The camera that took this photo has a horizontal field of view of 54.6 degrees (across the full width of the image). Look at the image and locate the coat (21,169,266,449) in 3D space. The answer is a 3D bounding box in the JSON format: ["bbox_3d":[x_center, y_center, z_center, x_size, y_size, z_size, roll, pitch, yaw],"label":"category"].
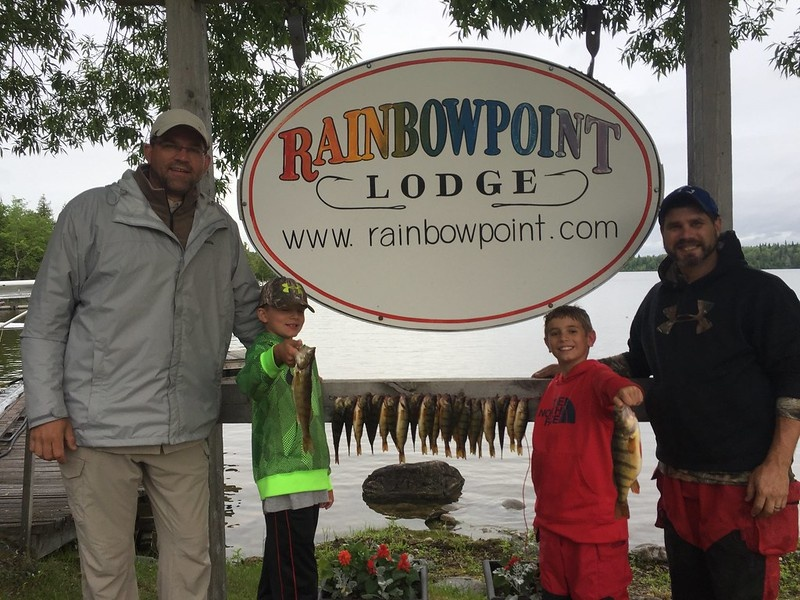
[{"bbox_3d":[-1.444,-0.011,5.091,1.711,1.873,0.644,-1,7,-39],"label":"coat"}]

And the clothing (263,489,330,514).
[{"bbox_3d":[-0.619,1.278,4.897,0.222,0.060,0.219,-12,-11,18],"label":"clothing"}]

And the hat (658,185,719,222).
[{"bbox_3d":[1.836,-0.621,5.056,0.307,0.244,0.433,-1,8,35],"label":"hat"}]

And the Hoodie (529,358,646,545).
[{"bbox_3d":[1.128,0.980,4.973,0.268,1.003,0.917,2,1,-29],"label":"Hoodie"}]

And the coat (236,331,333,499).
[{"bbox_3d":[-0.695,0.732,4.928,0.588,1.026,0.271,0,-7,-28],"label":"coat"}]

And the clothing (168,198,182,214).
[{"bbox_3d":[-1.390,-0.605,4.986,0.063,0.093,0.044,6,-24,-4],"label":"clothing"}]
